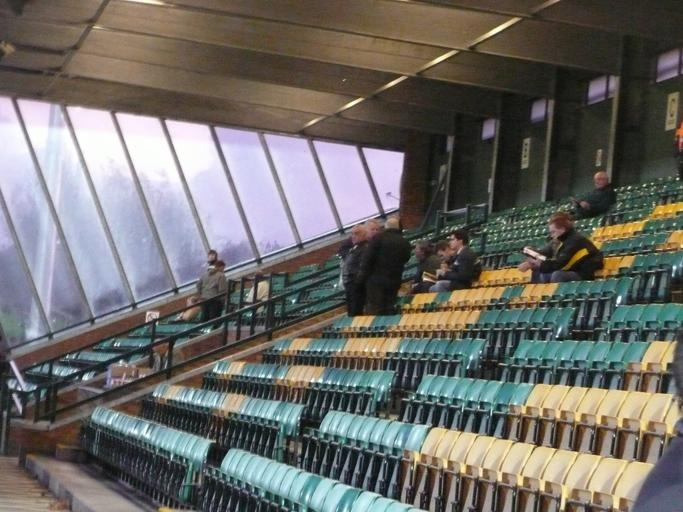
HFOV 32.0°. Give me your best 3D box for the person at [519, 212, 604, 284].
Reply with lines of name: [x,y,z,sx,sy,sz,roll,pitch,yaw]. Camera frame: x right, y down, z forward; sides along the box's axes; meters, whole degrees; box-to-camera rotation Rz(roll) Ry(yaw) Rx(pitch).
person: [3.199,-0.060,17.053,1.181,1.470,0.810,3,0,0]
